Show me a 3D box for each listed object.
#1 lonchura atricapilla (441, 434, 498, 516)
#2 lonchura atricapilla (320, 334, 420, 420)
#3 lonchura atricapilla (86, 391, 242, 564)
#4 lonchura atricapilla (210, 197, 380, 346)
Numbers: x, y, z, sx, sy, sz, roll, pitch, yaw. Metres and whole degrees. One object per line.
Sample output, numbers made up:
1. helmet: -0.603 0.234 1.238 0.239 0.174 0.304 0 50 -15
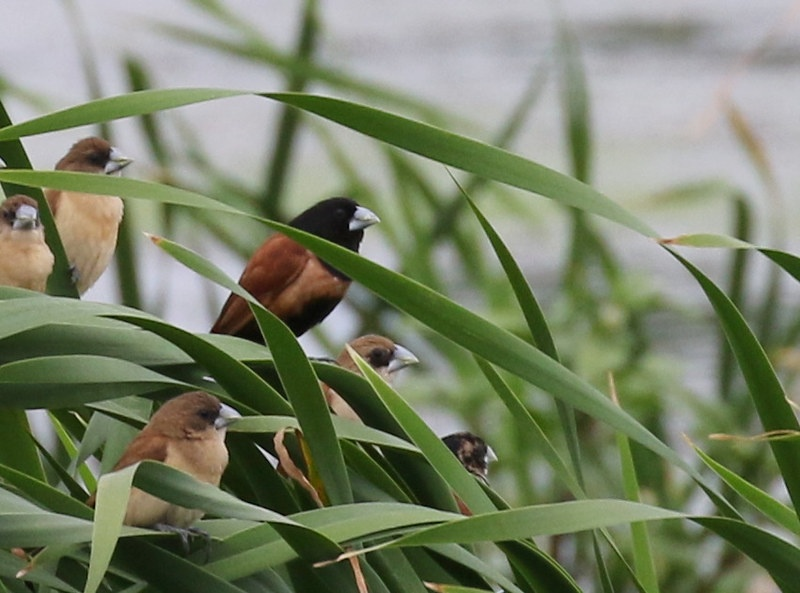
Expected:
1. lonchura atricapilla: 0.103 0.237 1.697 0.079 0.088 0.188 3 -17 3
2. lonchura atricapilla: -0.064 0.137 1.793 0.193 0.141 0.102 -3 -8 3
3. lonchura atricapilla: -0.302 0.216 1.483 0.241 0.196 0.131 -1 -2 27
4. lonchura atricapilla: -0.174 -0.047 1.860 0.207 0.255 0.165 13 -19 -29
